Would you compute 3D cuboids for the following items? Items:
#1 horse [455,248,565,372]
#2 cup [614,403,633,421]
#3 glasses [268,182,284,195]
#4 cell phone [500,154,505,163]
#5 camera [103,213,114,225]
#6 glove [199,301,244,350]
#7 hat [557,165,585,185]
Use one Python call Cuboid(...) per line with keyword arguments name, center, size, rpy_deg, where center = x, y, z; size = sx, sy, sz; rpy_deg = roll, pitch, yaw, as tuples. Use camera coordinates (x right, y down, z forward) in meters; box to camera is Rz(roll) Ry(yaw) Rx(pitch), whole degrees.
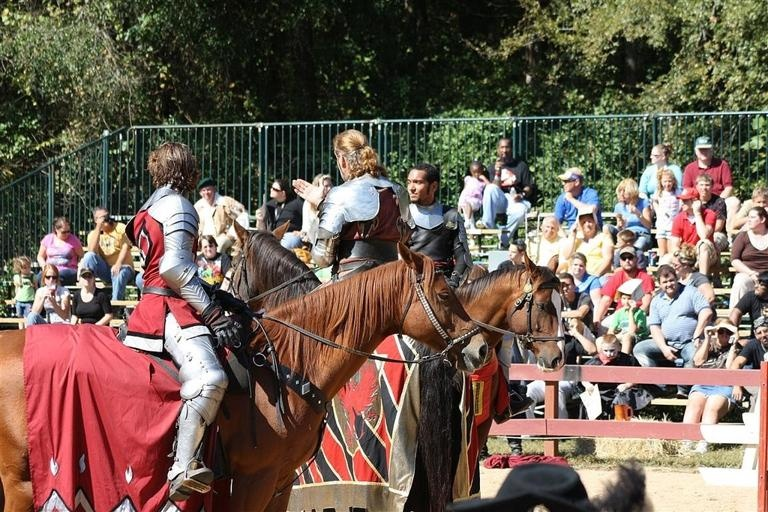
Cuboid(name="horse", center=(1.574, 0.875, 21.914), size=(0.590, 1.918, 2.969), rpy_deg=(-9, 9, -34))
Cuboid(name="cup", center=(4.183, 2.742, 25.258), size=(0.357, 0.412, 0.261), rpy_deg=(0, -4, -12))
Cuboid(name="glasses", center=(-2.173, -1.331, 29.046), size=(0.261, 0.148, 0.225), rpy_deg=(21, 3, -14))
Cuboid(name="cell phone", center=(2.453, -2.012, 30.349), size=(0.155, 0.170, 0.040), rpy_deg=(2, -4, 26))
Cuboid(name="camera", center=(-5.642, -0.720, 29.729), size=(0.136, 0.143, 0.232), rpy_deg=(38, -2, -36))
Cuboid(name="glove", center=(-2.229, 0.985, 19.952), size=(0.469, 0.616, 0.258), rpy_deg=(-42, -4, 1))
Cuboid(name="hat", center=(3.767, -1.586, 29.085), size=(0.424, 0.259, 0.333), rpy_deg=(0, 1, -3))
